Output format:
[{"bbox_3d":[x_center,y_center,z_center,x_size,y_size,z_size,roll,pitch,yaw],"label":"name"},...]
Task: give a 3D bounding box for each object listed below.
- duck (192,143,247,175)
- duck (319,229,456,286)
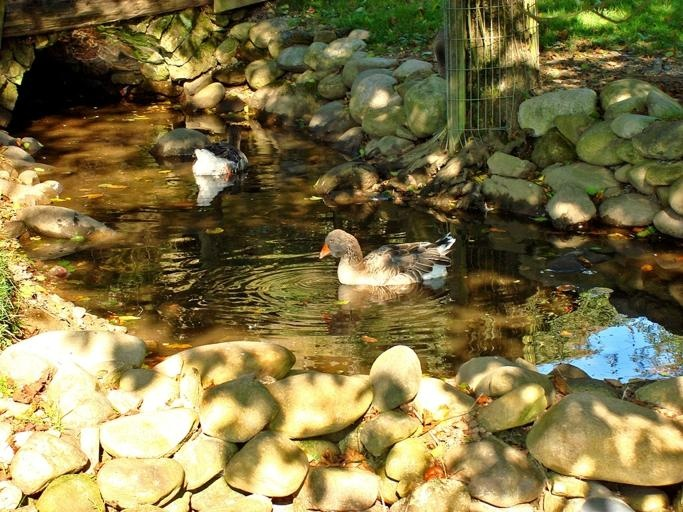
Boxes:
[{"bbox_3d":[-1.953,-1.604,10.685,0.697,0.271,0.795,4,15,20],"label":"duck"},{"bbox_3d":[0.484,0.033,7.210,1.686,0.602,0.583,-4,19,-27],"label":"duck"}]
